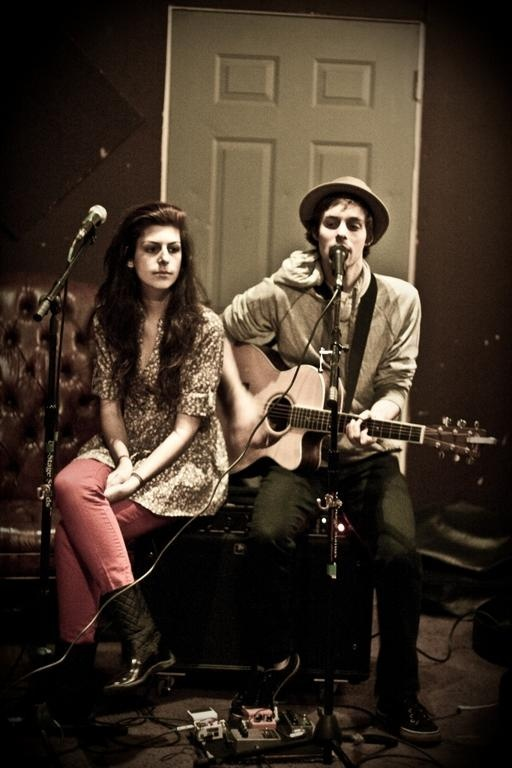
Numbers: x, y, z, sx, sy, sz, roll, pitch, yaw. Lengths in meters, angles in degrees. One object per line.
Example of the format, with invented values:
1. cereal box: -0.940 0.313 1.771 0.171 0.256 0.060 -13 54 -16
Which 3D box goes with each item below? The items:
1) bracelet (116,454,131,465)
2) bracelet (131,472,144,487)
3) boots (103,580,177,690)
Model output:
1. bracelet: -0.360 0.204 2.012 0.023 0.026 0.006 -14 -47 23
2. bracelet: -0.316 0.252 1.968 0.034 0.033 0.022 5 -1 -6
3. boots: -0.300 0.648 1.894 0.162 0.237 0.091 -26 -28 2
